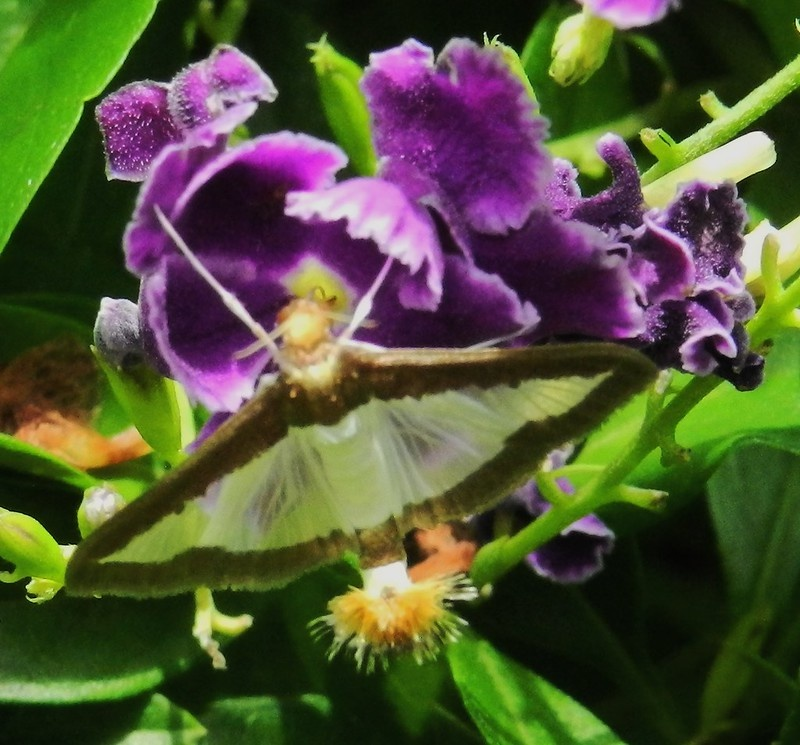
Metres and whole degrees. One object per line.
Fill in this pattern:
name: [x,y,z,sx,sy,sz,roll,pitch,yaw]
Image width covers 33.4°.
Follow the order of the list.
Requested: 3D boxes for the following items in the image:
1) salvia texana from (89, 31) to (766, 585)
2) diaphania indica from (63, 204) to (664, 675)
salvia texana: [0.037,-0.022,0.855,0.341,0.366,0.303,-2,15,7]
diaphania indica: [-0.032,0.039,0.806,0.366,0.259,0.104,-21,2,4]
